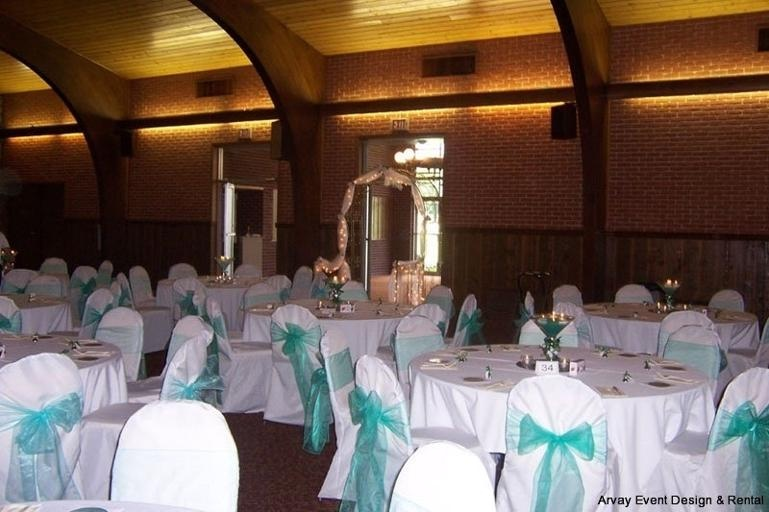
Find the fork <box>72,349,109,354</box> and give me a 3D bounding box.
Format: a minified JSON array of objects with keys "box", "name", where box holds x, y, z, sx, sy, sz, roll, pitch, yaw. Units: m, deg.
[{"box":[-2.560,0.834,5.434,0.337,0.012,0.098,1,14,7],"name":"fork"}]
